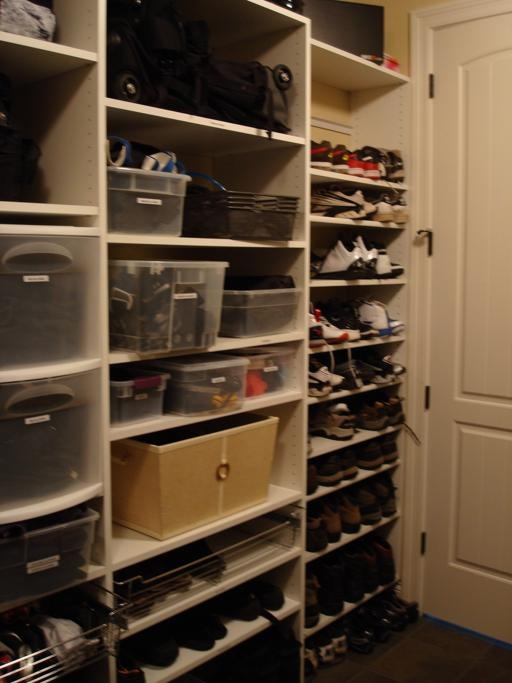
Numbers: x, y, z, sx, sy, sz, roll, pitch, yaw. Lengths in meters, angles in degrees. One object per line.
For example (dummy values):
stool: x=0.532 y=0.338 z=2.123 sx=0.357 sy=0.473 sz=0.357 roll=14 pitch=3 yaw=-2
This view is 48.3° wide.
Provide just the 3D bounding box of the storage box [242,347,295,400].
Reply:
storage box: x=0.049 y=0.110 z=1.847 sx=0.127 sy=0.119 sz=0.176 roll=3 pitch=5 yaw=40

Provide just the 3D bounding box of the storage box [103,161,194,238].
storage box: x=-0.312 y=-0.335 z=1.398 sx=0.185 sy=0.153 sz=0.256 roll=10 pitch=14 yaw=39

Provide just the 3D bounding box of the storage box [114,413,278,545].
storage box: x=-0.203 y=0.269 z=1.593 sx=0.278 sy=0.235 sz=0.469 roll=6 pitch=8 yaw=39

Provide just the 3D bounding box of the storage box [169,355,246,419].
storage box: x=-0.125 y=0.132 z=1.577 sx=0.128 sy=0.115 sz=0.194 roll=3 pitch=4 yaw=39

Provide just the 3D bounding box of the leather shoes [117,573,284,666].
leather shoes: x=-0.158 y=0.827 z=1.684 sx=0.208 sy=0.092 sz=0.283 roll=2 pitch=9 yaw=34

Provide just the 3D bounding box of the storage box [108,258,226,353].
storage box: x=-0.247 y=-0.088 z=1.494 sx=0.258 sy=0.213 sz=0.323 roll=0 pitch=5 yaw=28

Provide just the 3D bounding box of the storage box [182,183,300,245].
storage box: x=-0.036 y=-0.368 z=1.657 sx=0.342 sy=0.127 sz=0.206 roll=1 pitch=9 yaw=-10

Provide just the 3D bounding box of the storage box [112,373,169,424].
storage box: x=-0.287 y=0.137 z=1.396 sx=0.102 sy=0.083 sz=0.134 roll=5 pitch=6 yaw=42

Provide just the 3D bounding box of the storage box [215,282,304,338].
storage box: x=-0.004 y=-0.113 z=1.799 sx=0.161 sy=0.109 sz=0.237 roll=9 pitch=15 yaw=37
